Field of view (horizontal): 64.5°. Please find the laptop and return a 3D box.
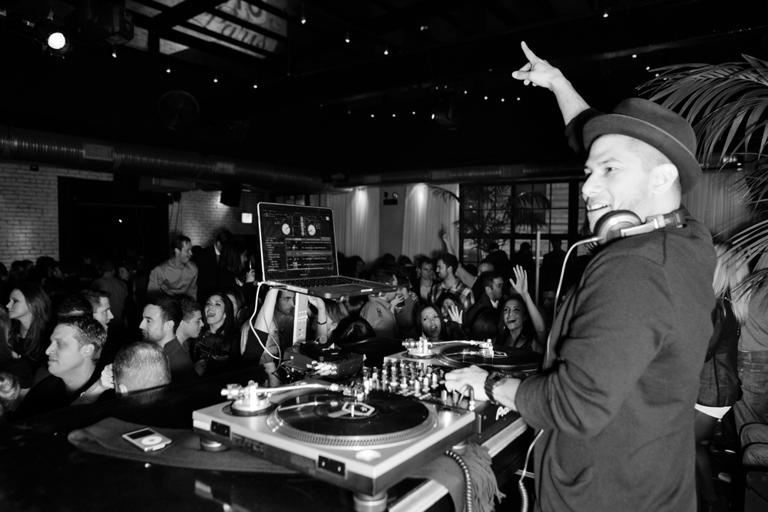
[{"bbox_3d":[-0.267,-0.031,2.843,0.537,0.386,0.541,1,7,-42],"label":"laptop"}]
